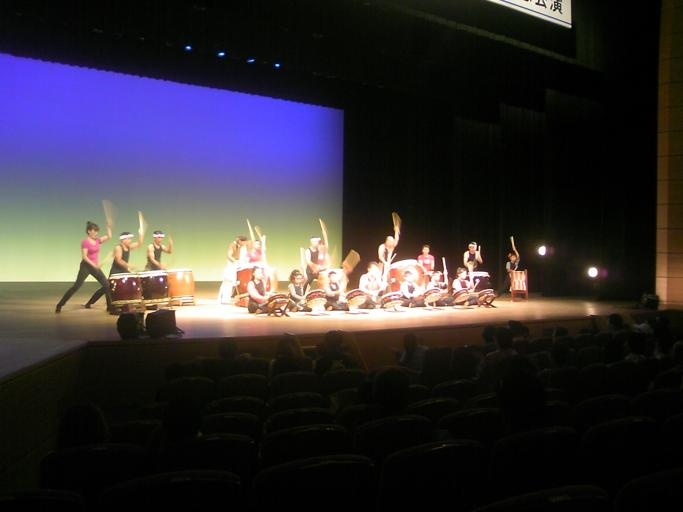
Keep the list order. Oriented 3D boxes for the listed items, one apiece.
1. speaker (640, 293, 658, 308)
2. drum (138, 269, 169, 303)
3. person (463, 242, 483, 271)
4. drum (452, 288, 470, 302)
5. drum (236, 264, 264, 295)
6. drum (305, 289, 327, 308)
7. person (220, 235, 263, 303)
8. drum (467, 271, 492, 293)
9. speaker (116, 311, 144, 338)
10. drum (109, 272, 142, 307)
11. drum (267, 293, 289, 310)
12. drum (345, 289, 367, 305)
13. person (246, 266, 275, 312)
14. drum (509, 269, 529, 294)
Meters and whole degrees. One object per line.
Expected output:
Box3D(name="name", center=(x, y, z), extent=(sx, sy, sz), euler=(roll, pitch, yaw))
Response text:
Box3D(name="speaker", center=(6.378, 0.924, 10.645), extent=(0.337, 0.317, 0.195), euler=(-1, 2, -16))
Box3D(name="drum", center=(-2.975, 0.495, 8.217), extent=(0.457, 0.474, 0.453), euler=(-1, -3, -5))
Box3D(name="person", center=(3.229, -0.023, 12.573), extent=(0.420, 0.769, 2.354), euler=(0, -1, 15))
Box3D(name="drum", center=(2.378, 0.797, 10.281), extent=(0.339, 0.289, 0.423), euler=(0, -1, 12))
Box3D(name="drum", center=(-1.690, 0.409, 9.152), extent=(0.511, 0.543, 0.486), euler=(0, 2, 5))
Box3D(name="drum", center=(-0.409, 0.631, 8.235), extent=(0.318, 0.115, 0.318), euler=(-4, -26, -2))
Box3D(name="person", center=(-1.941, 0.227, 9.702), extent=(1.018, 1.171, 1.217), euler=(2, -9, -2))
Box3D(name="drum", center=(3.131, 0.561, 11.597), extent=(0.515, 0.495, 0.503), euler=(-2, -4, 5))
Box3D(name="speaker", center=(-2.322, 0.776, 5.754), extent=(0.383, 0.332, 0.251), euler=(-7, -10, 42))
Box3D(name="drum", center=(-3.311, 0.538, 8.075), extent=(0.505, 0.513, 0.500), euler=(-4, -5, -14))
Box3D(name="drum", center=(-0.988, 0.704, 8.079), extent=(0.401, 0.235, 0.264), euler=(1, -1, -37))
Box3D(name="drum", center=(0.236, 0.698, 8.824), extent=(0.300, 0.269, 0.439), euler=(0, -1, 5))
Box3D(name="person", center=(-1.304, 0.567, 8.614), extent=(0.510, 0.748, 0.464), euler=(10, 13, 33))
Box3D(name="drum", center=(4.143, 0.590, 12.062), extent=(0.360, 0.532, 0.410), euler=(0, -1, 13))
